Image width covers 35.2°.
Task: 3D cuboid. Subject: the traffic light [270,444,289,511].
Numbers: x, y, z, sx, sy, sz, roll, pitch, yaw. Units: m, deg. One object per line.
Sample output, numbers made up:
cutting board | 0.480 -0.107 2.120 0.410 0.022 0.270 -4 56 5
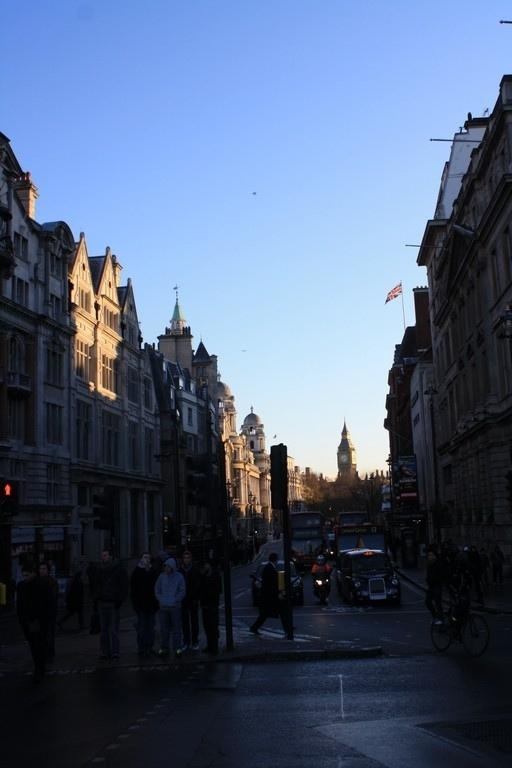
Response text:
traffic light | 0.421 1.755 15.210 0.325 1.319 0.880 -3 -12 0

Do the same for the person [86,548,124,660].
person | -2.435 3.600 13.209 0.482 1.743 0.776 4 -14 -30

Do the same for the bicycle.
bicycle | 3.443 3.874 12.830 0.601 0.882 1.330 6 -25 -18

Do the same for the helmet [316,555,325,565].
helmet | 2.319 6.320 29.157 0.214 0.321 0.300 0 -24 -2

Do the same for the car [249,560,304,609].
car | 0.711 6.040 26.110 1.758 1.656 3.237 -1 -19 -1

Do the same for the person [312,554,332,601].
person | 2.356 7.184 28.989 0.718 1.423 2.357 -1 -12 6

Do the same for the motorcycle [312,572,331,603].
motorcycle | 2.282 7.125 28.085 0.495 1.013 0.768 -3 -12 1
